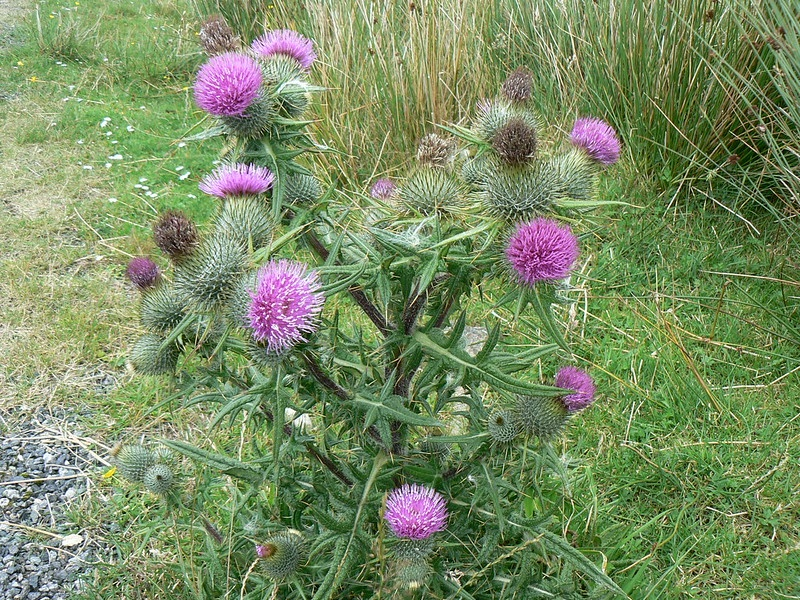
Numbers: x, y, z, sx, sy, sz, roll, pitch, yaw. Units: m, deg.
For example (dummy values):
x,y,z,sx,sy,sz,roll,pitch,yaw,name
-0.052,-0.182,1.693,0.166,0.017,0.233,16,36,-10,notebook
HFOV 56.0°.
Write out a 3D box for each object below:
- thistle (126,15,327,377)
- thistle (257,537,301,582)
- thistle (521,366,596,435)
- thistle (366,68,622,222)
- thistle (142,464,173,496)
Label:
x,y,z,sx,sy,sz,roll,pitch,yaw,name
-0.782,-0.561,3.732,0.948,1.834,0.772,16,41,-19,thistle
-0.626,1.328,3.983,0.196,0.330,0.212,-5,40,1,thistle
0.813,0.538,3.967,0.450,0.261,0.224,-24,44,-19,thistle
0.482,-0.648,3.703,0.839,0.552,0.881,-9,14,-16,thistle
-1.329,0.999,4.157,0.153,0.104,0.159,-4,84,6,thistle
